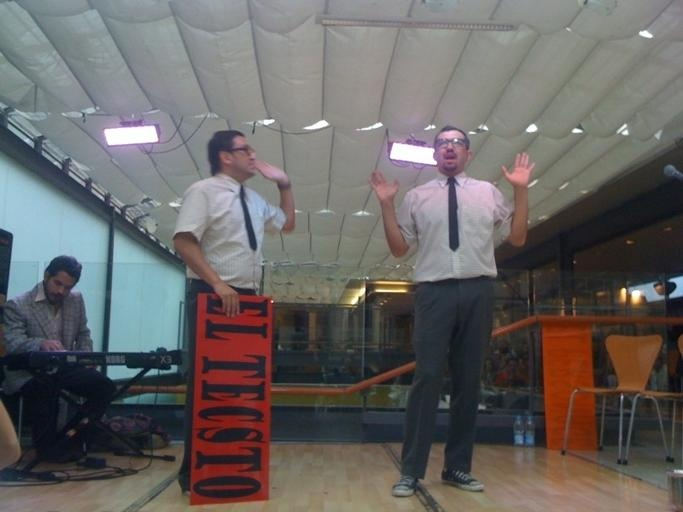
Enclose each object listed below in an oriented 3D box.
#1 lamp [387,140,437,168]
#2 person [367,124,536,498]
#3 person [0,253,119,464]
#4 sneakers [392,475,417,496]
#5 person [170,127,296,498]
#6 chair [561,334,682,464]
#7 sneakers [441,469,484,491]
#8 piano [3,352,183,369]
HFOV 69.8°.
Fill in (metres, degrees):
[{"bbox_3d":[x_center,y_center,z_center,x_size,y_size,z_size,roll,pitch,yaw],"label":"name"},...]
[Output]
[{"bbox_3d":[0.687,-1.027,4.917,0.575,0.294,0.123,1,15,-5],"label":"lamp"},{"bbox_3d":[0.661,0.323,2.688,0.737,1.835,0.317,-4,-13,21],"label":"person"},{"bbox_3d":[-1.952,0.665,3.371,0.814,1.368,0.696,1,-12,-1],"label":"person"},{"bbox_3d":[0.324,1.173,2.504,0.057,0.065,0.146,8,-11,-35],"label":"sneakers"},{"bbox_3d":[-0.577,0.237,2.586,0.605,1.932,0.411,3,-12,-12],"label":"person"},{"bbox_3d":[2.420,1.111,4.027,1.478,0.934,0.790,8,-14,-29],"label":"chair"},{"bbox_3d":[0.641,1.199,2.663,0.082,0.104,0.235,8,-14,-38],"label":"sneakers"},{"bbox_3d":[-1.591,0.644,3.101,1.055,0.140,0.358,3,-13,-12],"label":"piano"}]
